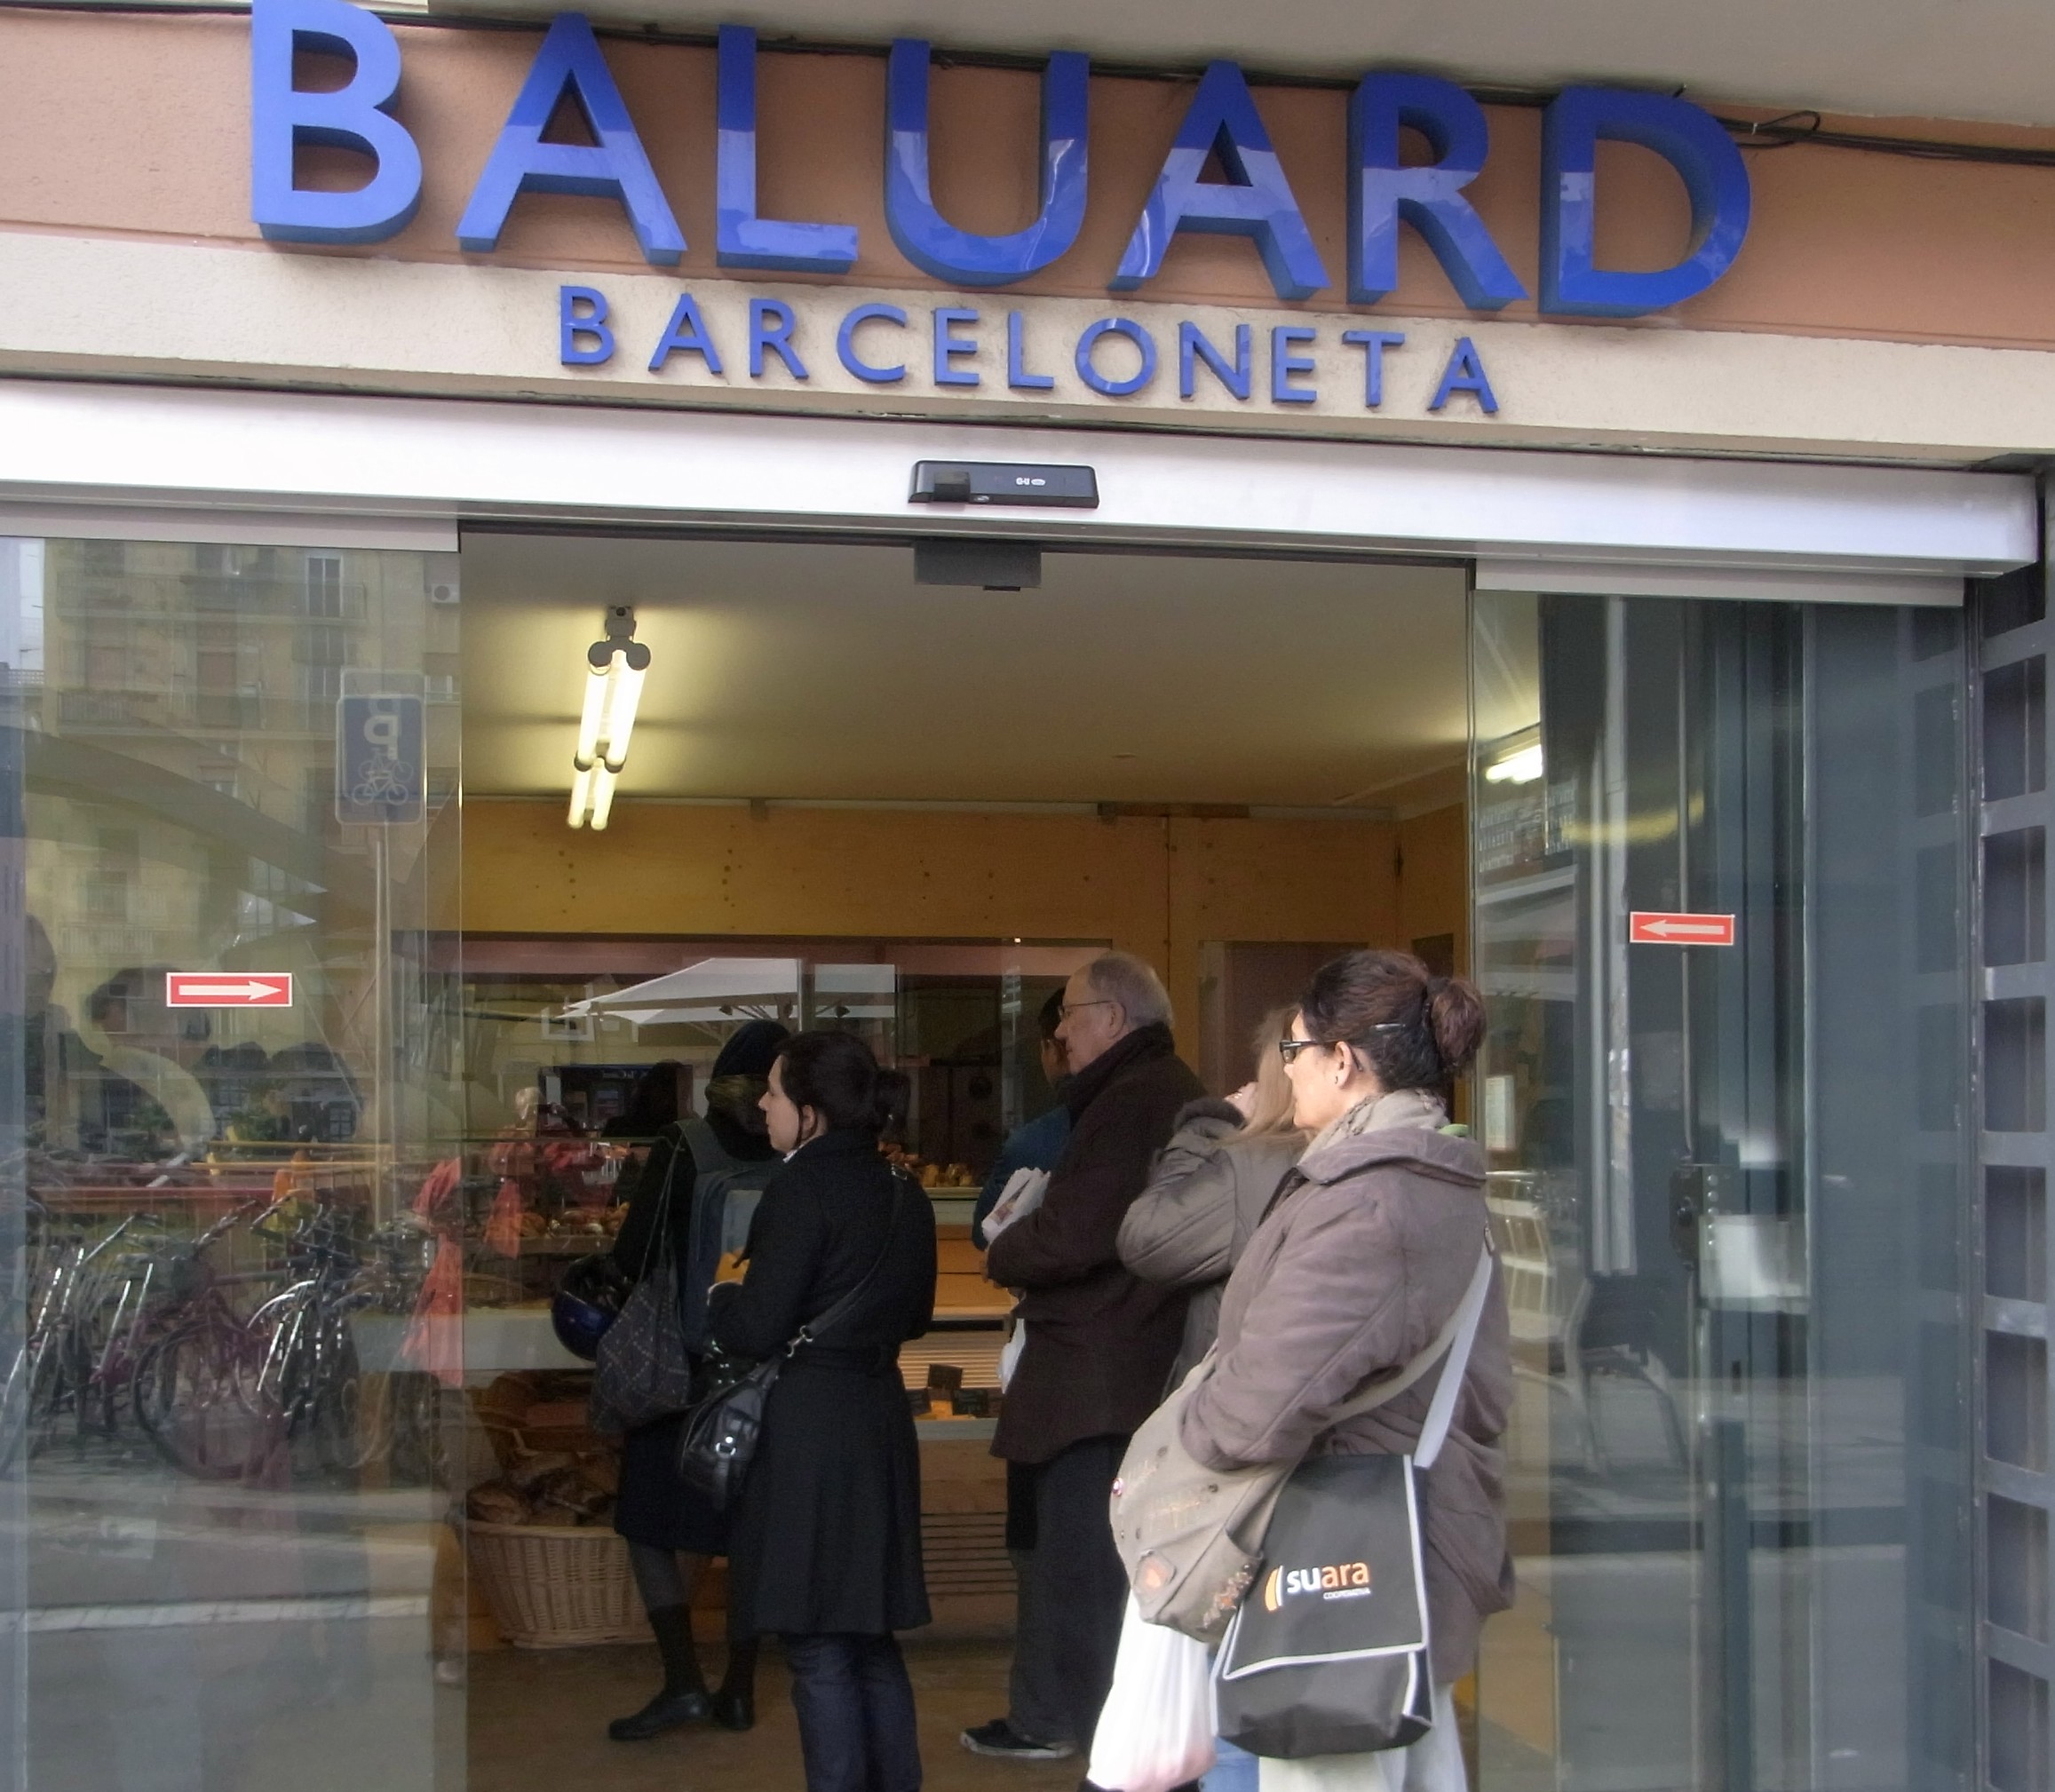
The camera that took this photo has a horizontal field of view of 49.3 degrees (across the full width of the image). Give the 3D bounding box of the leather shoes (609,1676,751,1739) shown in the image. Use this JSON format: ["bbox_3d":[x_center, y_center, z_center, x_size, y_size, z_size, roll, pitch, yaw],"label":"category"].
[{"bbox_3d":[-0.897,2.165,5.963,0.390,0.181,0.152,2,-6,-5],"label":"leather shoes"}]

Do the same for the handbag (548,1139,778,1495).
[{"bbox_3d":[-0.927,1.041,5.732,0.285,0.919,0.657,4,3,-8],"label":"handbag"}]
